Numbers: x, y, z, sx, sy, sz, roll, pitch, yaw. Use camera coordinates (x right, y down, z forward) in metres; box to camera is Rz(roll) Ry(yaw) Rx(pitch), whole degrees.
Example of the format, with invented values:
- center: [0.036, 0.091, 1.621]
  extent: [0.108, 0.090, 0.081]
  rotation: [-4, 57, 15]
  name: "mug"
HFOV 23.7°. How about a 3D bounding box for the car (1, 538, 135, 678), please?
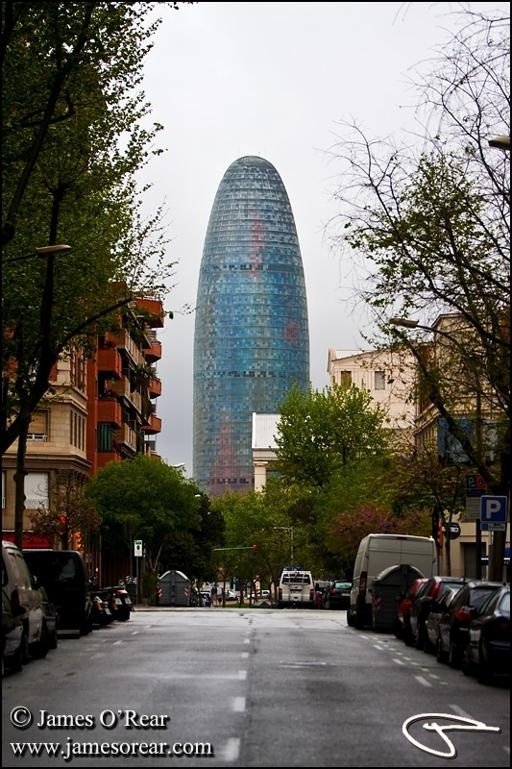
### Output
- center: [-3.479, 3.428, 19.159]
  extent: [1.360, 1.586, 4.036]
  rotation: [0, -3, 2]
  name: "car"
